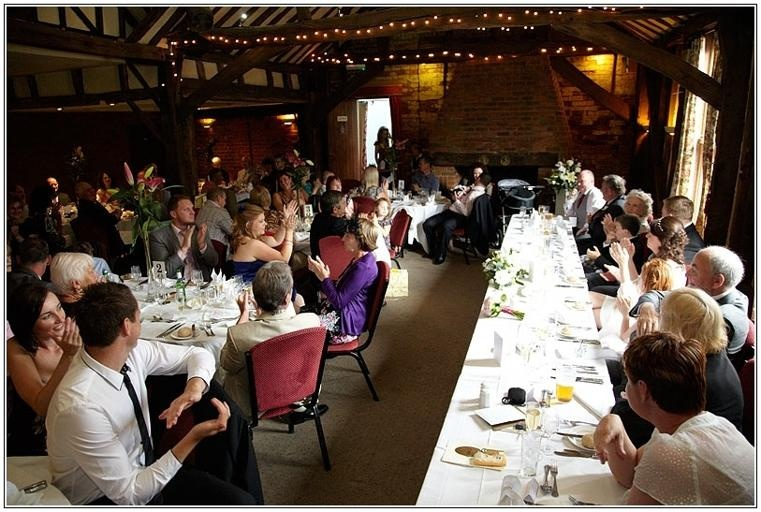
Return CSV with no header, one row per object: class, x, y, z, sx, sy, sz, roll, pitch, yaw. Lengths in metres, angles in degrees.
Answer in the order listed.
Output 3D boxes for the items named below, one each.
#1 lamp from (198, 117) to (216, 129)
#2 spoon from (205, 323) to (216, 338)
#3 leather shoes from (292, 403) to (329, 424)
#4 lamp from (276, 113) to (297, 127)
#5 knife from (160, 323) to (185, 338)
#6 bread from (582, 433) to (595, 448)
lamp,-4.993,-3.800,14.306,0.337,0.118,0.333,-2,-11,-3
spoon,-1.356,0.583,3.947,0.047,0.024,0.171,-4,20,-21
leather shoes,-0.626,1.386,4.393,0.269,0.093,0.262,-4,6,-26
lamp,-2.570,-3.663,13.525,0.591,0.300,0.278,1,7,4
knife,-1.665,0.583,3.982,0.049,0.027,0.204,5,17,11
bread,1.173,1.041,2.821,0.070,0.052,0.093,3,14,12
